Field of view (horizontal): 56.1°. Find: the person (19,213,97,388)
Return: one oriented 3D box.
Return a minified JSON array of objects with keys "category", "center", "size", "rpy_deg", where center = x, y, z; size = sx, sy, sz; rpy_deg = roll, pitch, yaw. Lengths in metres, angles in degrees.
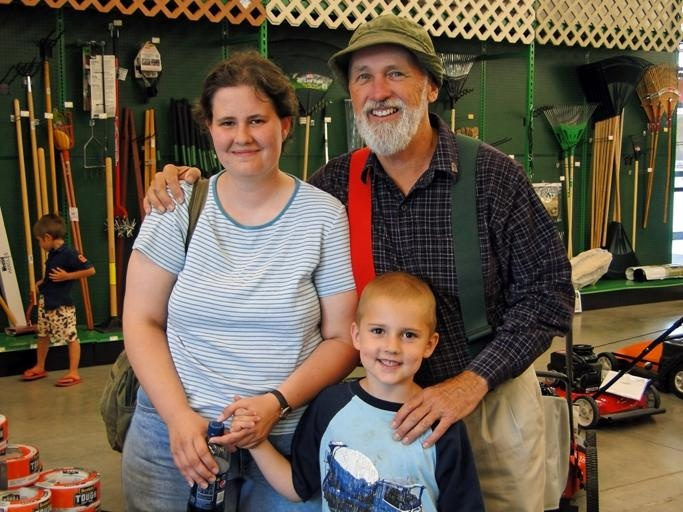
[{"category":"person","center":[-2.373,0.350,5.356],"size":[0.478,1.385,0.383],"rpy_deg":[1,6,17]}]

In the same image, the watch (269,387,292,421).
[{"category":"watch","center":[-0.192,0.503,2.245],"size":[0.058,0.104,0.098],"rpy_deg":[-32,17,-24]}]

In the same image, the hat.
[{"category":"hat","center":[0.188,-0.847,2.638],"size":[0.457,0.231,0.586],"rpy_deg":[2,-2,23]}]
